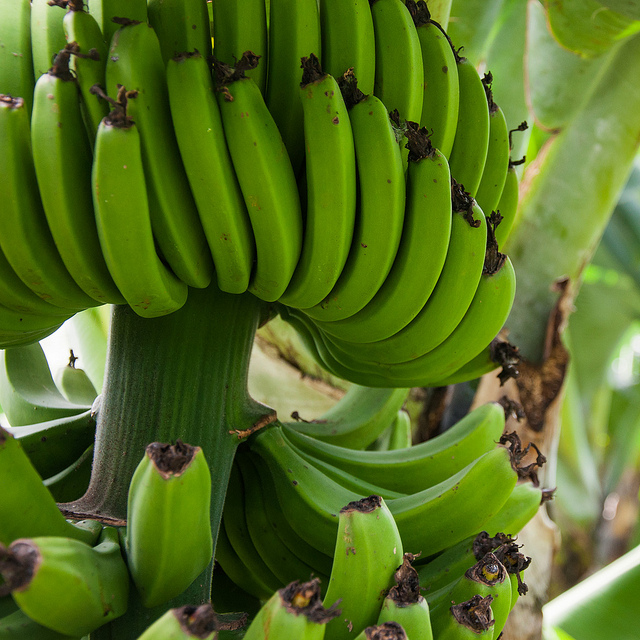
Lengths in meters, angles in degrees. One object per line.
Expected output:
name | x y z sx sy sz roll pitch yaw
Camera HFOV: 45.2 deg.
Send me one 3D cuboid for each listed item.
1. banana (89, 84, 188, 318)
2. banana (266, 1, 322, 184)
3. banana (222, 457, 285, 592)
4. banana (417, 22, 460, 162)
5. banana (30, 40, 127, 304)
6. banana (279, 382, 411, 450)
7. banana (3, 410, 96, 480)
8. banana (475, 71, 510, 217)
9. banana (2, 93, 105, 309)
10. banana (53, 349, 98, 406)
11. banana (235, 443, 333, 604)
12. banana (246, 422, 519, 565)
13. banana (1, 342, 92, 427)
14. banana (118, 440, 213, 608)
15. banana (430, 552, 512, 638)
banana | -0.319 -0.167 1.373 0.170 0.485 0.189 0 28 -15
banana | -0.058 -0.461 1.420 0.062 0.427 0.130 0 17 12
banana | -0.143 0.439 1.691 0.090 0.333 0.038 -7 9 37
banana | 0.240 -0.477 1.574 0.058 0.349 0.102 -4 7 20
banana | -0.395 -0.237 1.369 0.088 0.542 0.179 -6 8 0
banana | 0.064 0.310 2.037 0.363 0.196 0.105 -16 -18 24
banana | -0.602 0.271 1.731 0.058 0.166 0.177 -4 31 44
banana | 0.372 -0.379 1.779 0.062 0.375 0.123 -1 11 -3
banana | -0.440 -0.198 1.285 0.063 0.330 0.201 5 10 37
banana | -0.693 0.170 2.184 0.081 0.098 0.216 -1 41 -10
banana | -0.074 0.416 1.608 0.067 0.358 0.111 -10 13 33
banana | 0.129 0.374 1.609 0.340 0.136 0.171 19 38 -19
banana | -0.692 0.173 1.927 0.067 0.254 0.152 -18 17 19
banana | -0.263 0.376 1.317 0.139 0.303 0.093 -20 23 -36
banana | 0.285 0.535 1.424 0.111 0.189 0.049 38 47 15
